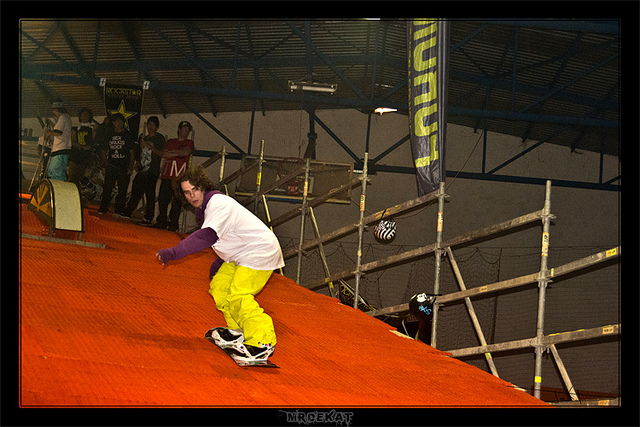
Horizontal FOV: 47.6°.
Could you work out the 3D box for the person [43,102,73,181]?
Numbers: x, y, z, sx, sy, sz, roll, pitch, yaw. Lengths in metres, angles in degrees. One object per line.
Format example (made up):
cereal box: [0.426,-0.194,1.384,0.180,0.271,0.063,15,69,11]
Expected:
person: [-4.952,-1.344,13.519,0.335,1.408,0.577,11,0,13]

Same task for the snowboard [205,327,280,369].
snowboard: [-0.945,1.529,8.224,0.970,0.430,0.299,9,0,19]

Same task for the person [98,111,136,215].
person: [-4.205,-1.057,14.961,0.689,2.094,0.946,10,0,-18]

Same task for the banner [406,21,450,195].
banner: [1.779,-1.980,12.021,0.656,3.019,0.145,-2,-2,31]

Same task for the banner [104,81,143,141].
banner: [-4.332,-2.181,15.831,0.868,1.560,0.053,3,41,-15]
